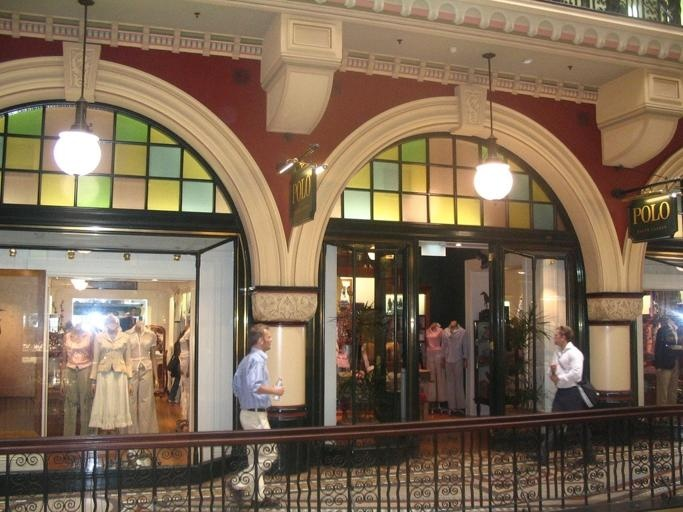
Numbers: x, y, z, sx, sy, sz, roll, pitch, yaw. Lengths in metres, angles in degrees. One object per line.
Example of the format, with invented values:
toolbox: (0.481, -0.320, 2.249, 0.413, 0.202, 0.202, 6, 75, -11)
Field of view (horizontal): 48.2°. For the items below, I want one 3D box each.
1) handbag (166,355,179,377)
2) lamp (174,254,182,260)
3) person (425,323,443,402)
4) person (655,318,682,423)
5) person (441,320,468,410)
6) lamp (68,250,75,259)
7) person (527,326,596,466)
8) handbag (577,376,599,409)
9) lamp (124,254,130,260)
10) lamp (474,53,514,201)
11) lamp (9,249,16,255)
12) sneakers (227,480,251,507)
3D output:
handbag: (-2.099, 1.386, 9.513, 0.080, 0.241, 0.154, 4, -1, -40)
lamp: (-2.019, 0.020, 9.376, 0.058, 0.094, 0.065, 4, 18, 7)
person: (1.598, 1.843, 13.123, 0.278, 1.378, 0.374, -2, -10, 6)
person: (4.722, 1.494, 11.077, 0.452, 1.270, 0.197, 1, -10, -12)
person: (1.899, 1.868, 12.797, 0.402, 1.540, 0.379, -3, -10, 10)
lamp: (-3.252, -0.014, 9.175, 0.091, 0.100, 0.093, 2, -11, -21)
person: (2.577, 1.588, 8.865, 0.611, 1.596, 2.871, -4, -11, 15)
handbag: (2.897, 1.608, 8.947, 0.087, 0.322, 0.220, -8, 8, -20)
lamp: (-2.640, 0.012, 9.368, 0.062, 0.074, 0.121, 0, -1, -4)
lamp: (1.780, -1.473, 9.073, 0.396, 1.859, 1.310, -4, -10, 13)
lamp: (-3.872, -0.043, 8.978, 0.074, 0.084, 0.065, 4, -11, -27)
sneakers: (-0.968, 2.251, 7.129, 0.190, 0.272, 0.445, 0, -11, -10)
